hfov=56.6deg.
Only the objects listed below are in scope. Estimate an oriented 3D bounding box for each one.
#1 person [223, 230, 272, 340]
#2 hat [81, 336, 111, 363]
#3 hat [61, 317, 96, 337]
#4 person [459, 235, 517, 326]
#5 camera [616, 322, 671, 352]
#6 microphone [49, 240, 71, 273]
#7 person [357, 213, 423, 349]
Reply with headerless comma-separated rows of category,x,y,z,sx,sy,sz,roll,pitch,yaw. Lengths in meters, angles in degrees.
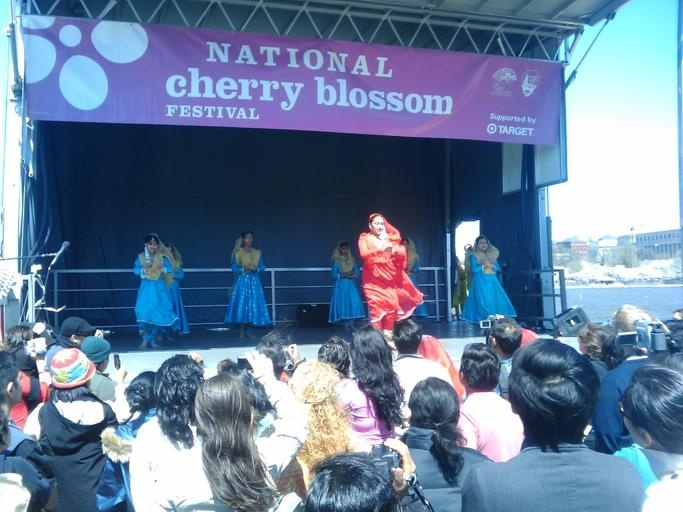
person,-1.151,0.334,7.841,0.547,1.039,0.483,-4,-1,16
hat,-1.489,0.574,3.844,0.130,0.164,0.156,-3,21,-43
hat,-1.870,0.501,4.511,0.175,0.120,0.134,-2,9,-21
person,1.793,0.279,7.932,0.650,1.063,0.406,-4,-1,20
camera,1.462,0.399,3.083,0.153,0.127,0.227,0,-1,-20
microphone,-3.510,0.005,7.887,0.092,0.413,0.111,39,-11,-17
person,0.475,0.189,6.032,0.517,1.262,0.502,-2,7,1
